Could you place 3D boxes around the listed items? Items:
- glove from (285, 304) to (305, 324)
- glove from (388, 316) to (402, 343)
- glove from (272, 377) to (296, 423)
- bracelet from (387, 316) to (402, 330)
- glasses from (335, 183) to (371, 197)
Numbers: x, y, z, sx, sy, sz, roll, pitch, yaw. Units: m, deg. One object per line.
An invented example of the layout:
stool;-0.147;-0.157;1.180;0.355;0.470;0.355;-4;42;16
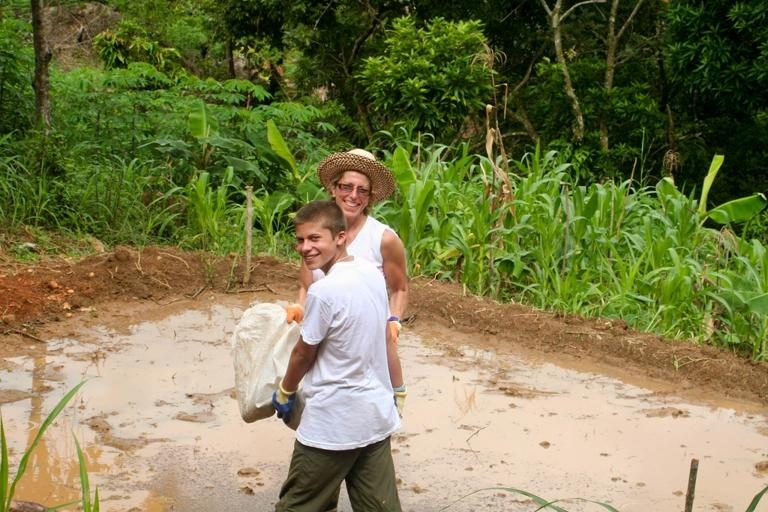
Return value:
glove;-0.741;0.461;6.800;0.175;0.139;0.237;2;-4;5
glove;0.091;0.585;7.010;0.150;0.157;0.191;-1;-14;0
glove;-0.774;1.137;6.551;0.105;0.282;0.213;0;10;-37
bracelet;0.097;0.551;7.098;0.087;0.091;0.104;0;-7;0
glasses;-0.265;-0.582;7.302;0.308;0.096;0.113;6;11;0
